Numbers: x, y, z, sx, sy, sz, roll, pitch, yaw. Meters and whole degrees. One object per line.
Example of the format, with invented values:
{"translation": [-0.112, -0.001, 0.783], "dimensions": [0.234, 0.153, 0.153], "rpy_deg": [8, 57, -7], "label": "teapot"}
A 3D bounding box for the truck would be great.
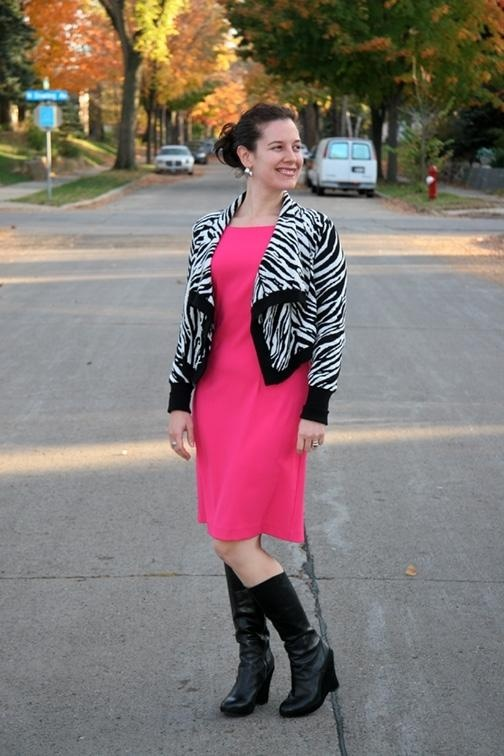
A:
{"translation": [3.894, -9.255, 31.070], "dimensions": [1.837, 1.439, 3.255], "rpy_deg": [-2, 21, -3], "label": "truck"}

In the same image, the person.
{"translation": [-0.004, 0.084, 1.969], "dimensions": [0.515, 1.668, 0.416], "rpy_deg": [6, 10, 24], "label": "person"}
